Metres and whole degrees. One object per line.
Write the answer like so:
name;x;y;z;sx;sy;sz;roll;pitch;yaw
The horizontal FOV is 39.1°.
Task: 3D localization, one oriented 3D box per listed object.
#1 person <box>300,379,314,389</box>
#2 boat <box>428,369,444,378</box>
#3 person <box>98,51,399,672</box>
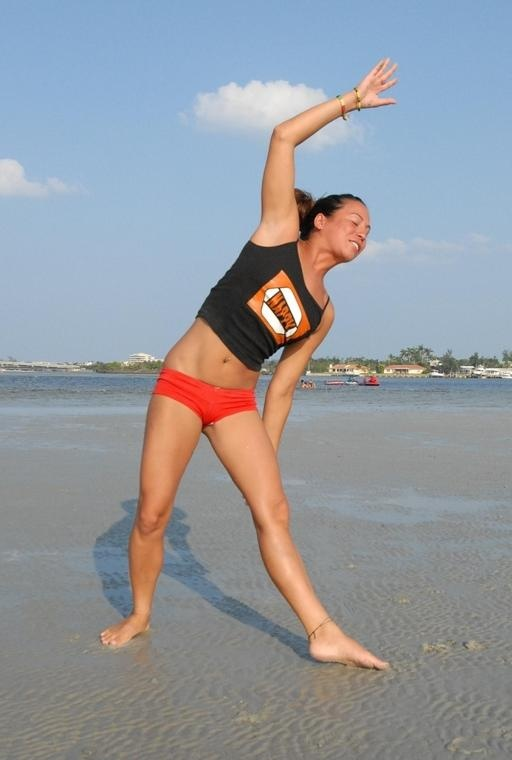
person;4.376;0.300;61.511;0.972;0.515;1.227;3;3;-16
boat;56.567;-2.537;227.358;3.548;1.749;4.929;0;-3;9
person;0.000;-0.104;2.912;1.060;1.731;0.683;2;1;-9
